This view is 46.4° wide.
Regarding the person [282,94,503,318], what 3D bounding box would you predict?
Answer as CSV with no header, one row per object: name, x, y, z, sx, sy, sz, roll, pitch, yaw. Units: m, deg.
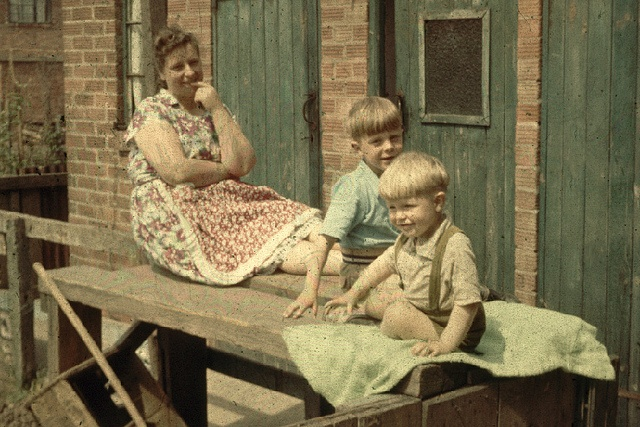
person,0.485,-0.038,4.843,1.569,1.431,1.011,-13,19,-20

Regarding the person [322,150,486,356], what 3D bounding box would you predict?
person,0.580,0.203,4.458,0.700,1.177,0.960,-7,11,-37
